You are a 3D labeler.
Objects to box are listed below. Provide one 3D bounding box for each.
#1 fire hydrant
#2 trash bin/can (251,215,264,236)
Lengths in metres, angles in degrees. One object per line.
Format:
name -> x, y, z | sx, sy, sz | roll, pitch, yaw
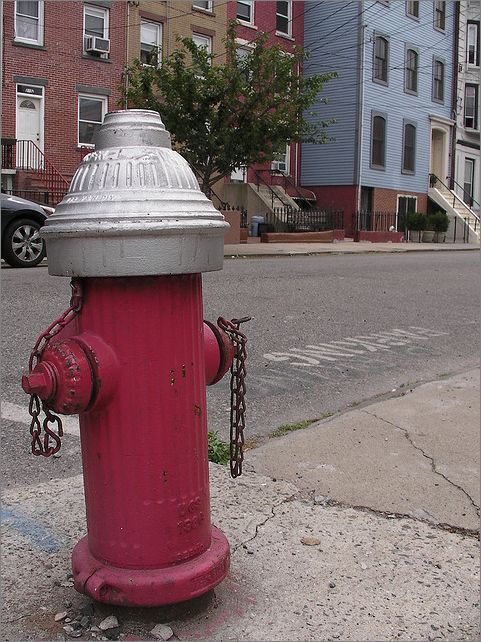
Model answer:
fire hydrant -> -0.304, 0.113, 2.424 | 0.632, 1.440, 0.401 | 0, 10, -10
trash bin/can -> 0.500, -3.011, 26.465 | 0.604, 0.760, 0.553 | 0, 4, -6
